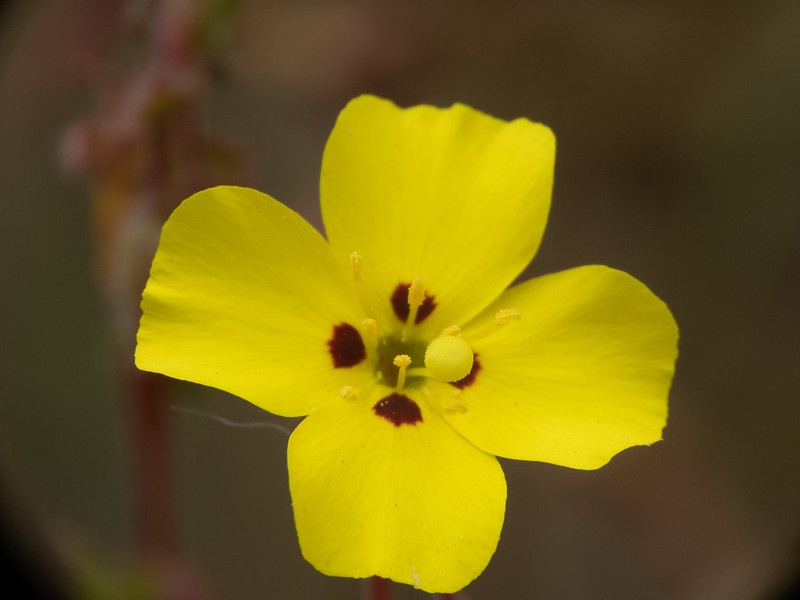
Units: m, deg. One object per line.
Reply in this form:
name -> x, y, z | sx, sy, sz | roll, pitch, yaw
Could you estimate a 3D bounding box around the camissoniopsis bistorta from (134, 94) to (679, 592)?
camissoniopsis bistorta -> 0.007, 0.049, 1.053 | 0.518, 0.150, 0.526 | -37, 82, -9
